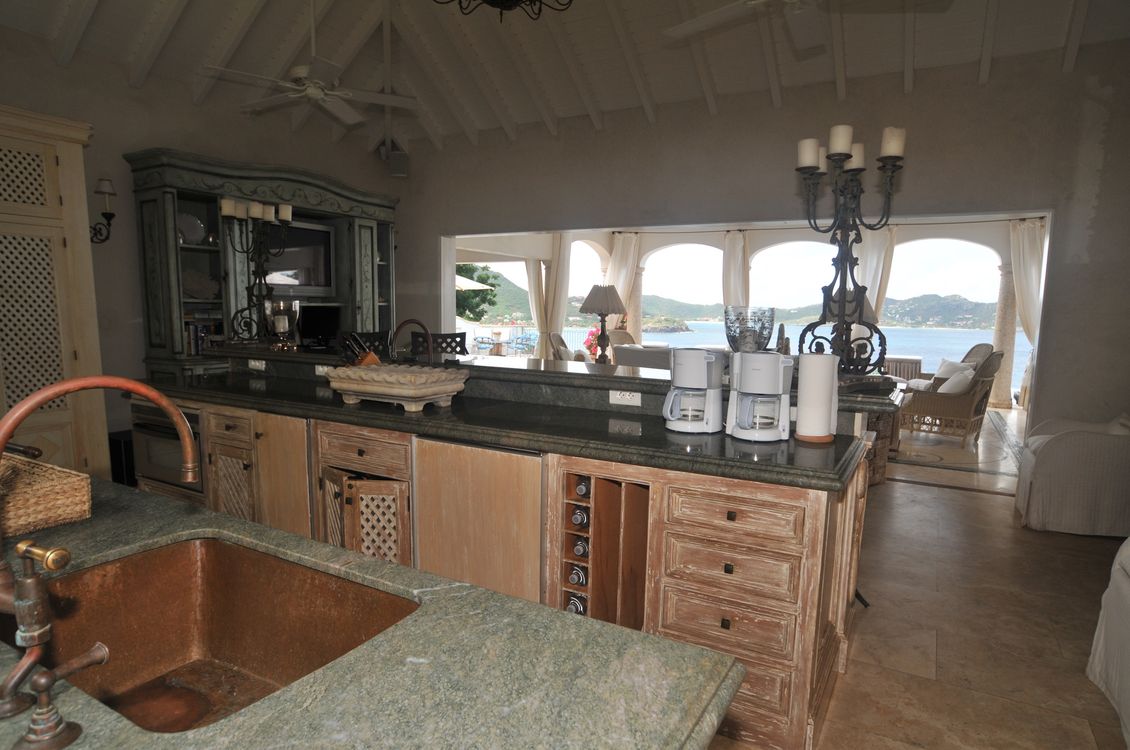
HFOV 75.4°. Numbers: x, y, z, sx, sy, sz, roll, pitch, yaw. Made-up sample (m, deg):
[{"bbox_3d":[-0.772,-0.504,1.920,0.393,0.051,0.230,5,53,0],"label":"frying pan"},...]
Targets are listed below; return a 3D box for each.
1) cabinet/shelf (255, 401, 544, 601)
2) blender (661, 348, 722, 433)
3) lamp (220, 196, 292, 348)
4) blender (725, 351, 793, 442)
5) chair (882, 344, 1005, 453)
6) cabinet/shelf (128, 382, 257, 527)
[{"bbox_3d":[-0.760,0.612,3.630,0.941,0.866,0.330,4,6,25],"label":"cabinet/shelf"},{"bbox_3d":[0.643,0.069,3.796,0.348,0.400,0.320,0,3,1],"label":"blender"},{"bbox_3d":[-2.681,-0.960,6.282,0.569,1.323,2.646,0,4,-21],"label":"lamp"},{"bbox_3d":[0.995,0.094,3.674,0.348,0.414,0.365,1,8,-6],"label":"blender"},{"bbox_3d":[4.362,0.197,8.293,0.915,1.113,0.962,4,5,30],"label":"chair"},{"bbox_3d":[-2.013,0.425,4.019,0.773,0.717,0.518,6,4,26],"label":"cabinet/shelf"}]
